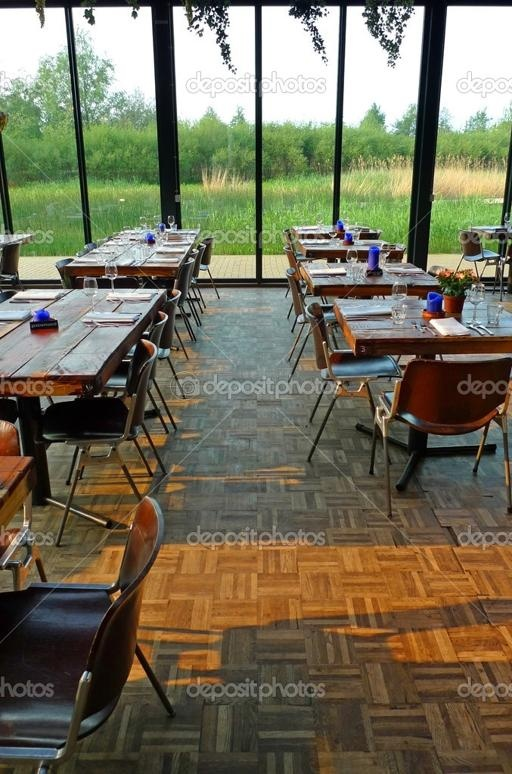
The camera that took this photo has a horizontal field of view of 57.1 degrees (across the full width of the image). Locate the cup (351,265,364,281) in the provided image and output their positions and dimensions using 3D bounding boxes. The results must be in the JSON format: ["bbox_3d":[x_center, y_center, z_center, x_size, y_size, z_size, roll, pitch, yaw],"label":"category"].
[{"bbox_3d":[0.806,-0.916,3.801,0.122,0.140,0.122,1,13,0],"label":"cup"}]
